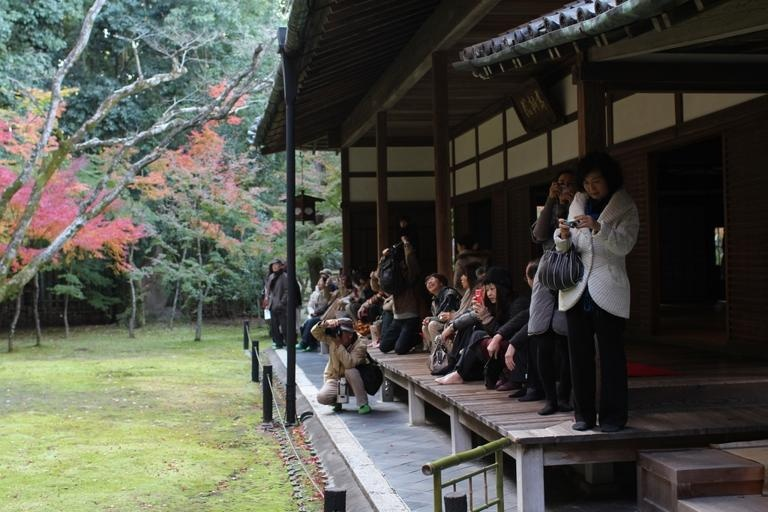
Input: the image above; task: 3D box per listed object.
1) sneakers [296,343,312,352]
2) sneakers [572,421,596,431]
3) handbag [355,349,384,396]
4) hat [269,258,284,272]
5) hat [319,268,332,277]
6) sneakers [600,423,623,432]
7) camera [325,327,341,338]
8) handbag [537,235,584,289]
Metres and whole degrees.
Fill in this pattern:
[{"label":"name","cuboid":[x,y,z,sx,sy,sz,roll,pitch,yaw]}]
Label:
[{"label":"sneakers","cuboid":[-1.896,2.206,15.373,0.481,0.215,0.157,7,-1,12]},{"label":"sneakers","cuboid":[1.761,1.471,5.667,0.158,0.064,0.086,-5,-5,-33]},{"label":"handbag","cuboid":[-0.144,1.627,9.024,0.227,0.569,0.353,-16,-35,-17]},{"label":"hat","cuboid":[-2.485,0.220,15.333,0.385,0.365,0.291,8,-11,-19]},{"label":"hat","cuboid":[-1.587,0.469,17.444,0.264,0.139,0.185,19,-19,-25]},{"label":"sneakers","cuboid":[1.982,1.484,5.576,0.217,0.067,0.067,2,-7,-18]},{"label":"camera","cuboid":[-0.713,1.056,8.879,0.178,0.106,0.181,3,-7,-3]},{"label":"handbag","cuboid":[1.569,0.069,5.718,0.355,0.435,0.201,2,-2,43]}]
